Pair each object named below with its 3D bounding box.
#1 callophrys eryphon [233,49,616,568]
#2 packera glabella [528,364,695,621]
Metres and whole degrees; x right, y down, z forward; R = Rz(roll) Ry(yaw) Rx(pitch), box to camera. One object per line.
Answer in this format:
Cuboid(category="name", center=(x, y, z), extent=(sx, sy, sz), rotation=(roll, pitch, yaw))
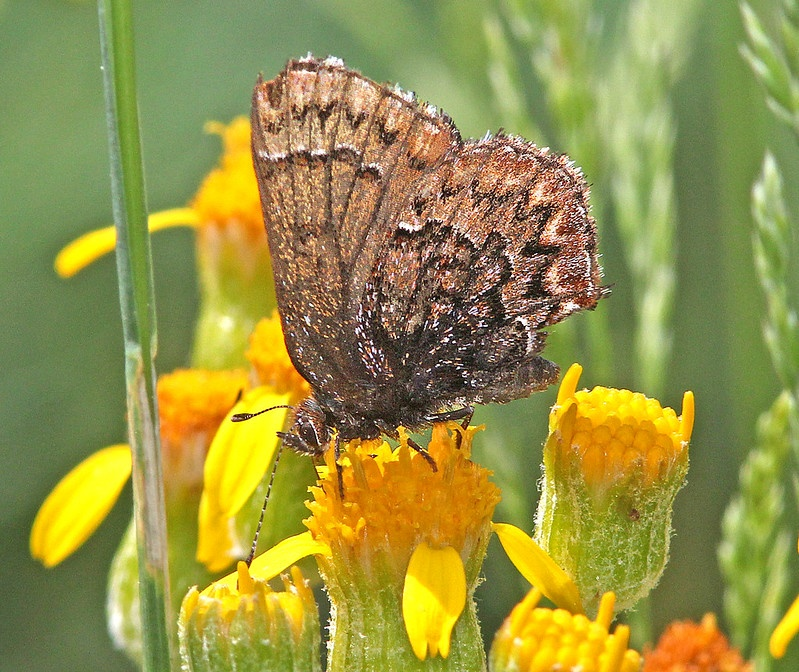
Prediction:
Cuboid(category="callophrys eryphon", center=(-0.019, 0.010, 2.098), extent=(0.724, 1.001, 0.453), rotation=(-9, 16, -29))
Cuboid(category="packera glabella", center=(0.360, 0.267, 1.940), extent=(0.233, 0.403, 0.229), rotation=(-1, 7, -14))
